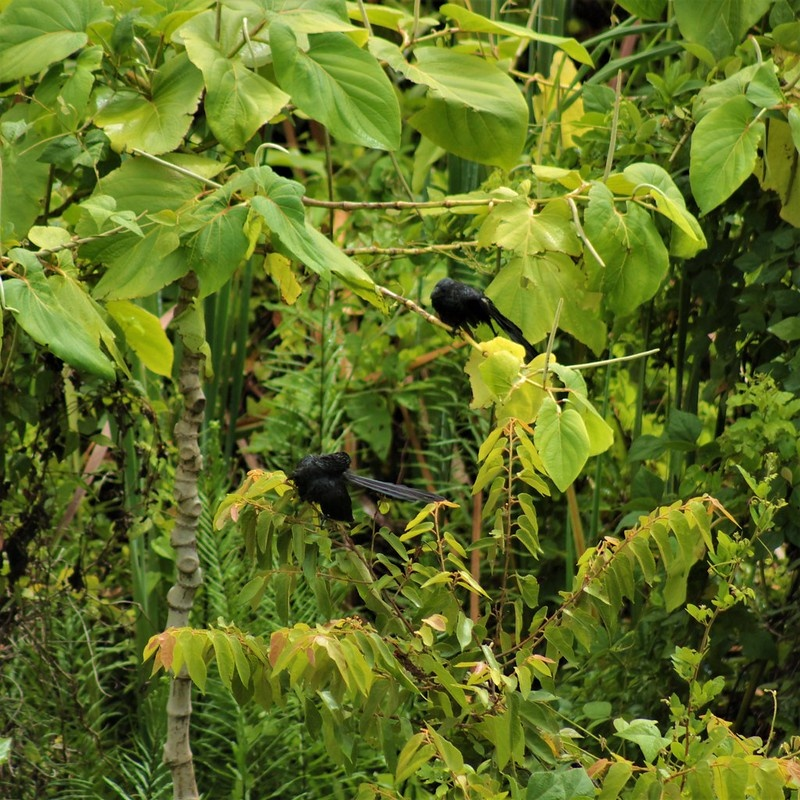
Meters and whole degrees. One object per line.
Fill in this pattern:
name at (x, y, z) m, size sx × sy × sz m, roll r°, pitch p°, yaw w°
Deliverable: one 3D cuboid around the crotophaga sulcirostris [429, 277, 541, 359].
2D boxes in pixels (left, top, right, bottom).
crotophaga sulcirostris at (0.093, -0.095, 1.547) m, size 0.137 × 0.043 × 0.056 m, roll 9°, pitch 84°, yaw -27°
